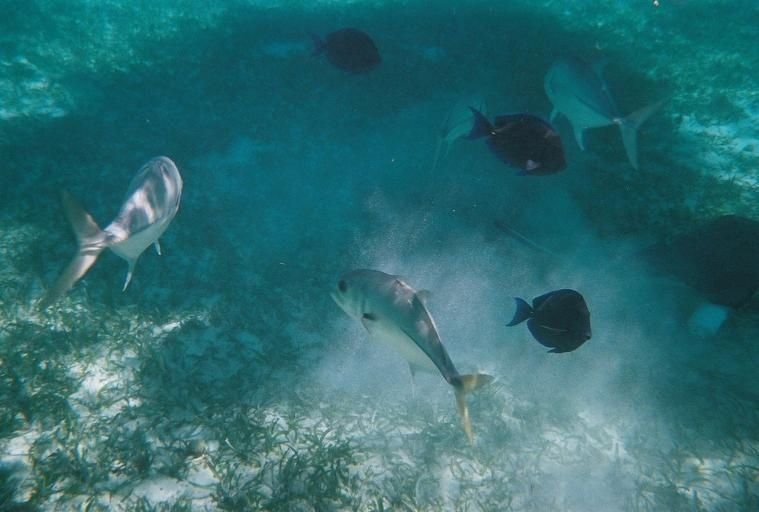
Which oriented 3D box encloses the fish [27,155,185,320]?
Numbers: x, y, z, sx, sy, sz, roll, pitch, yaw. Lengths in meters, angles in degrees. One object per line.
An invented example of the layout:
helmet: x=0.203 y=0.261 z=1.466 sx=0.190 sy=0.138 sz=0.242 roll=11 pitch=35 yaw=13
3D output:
fish: x=-3.166 y=-0.324 z=8.087 sx=1.176 sy=2.034 sz=0.404 roll=20 pitch=-5 yaw=-38

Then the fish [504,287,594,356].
fish: x=2.090 y=0.993 z=8.548 sx=0.830 sy=0.244 sz=0.755 roll=17 pitch=1 yaw=41

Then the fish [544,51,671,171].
fish: x=2.909 y=-2.121 z=9.303 sx=0.422 sy=1.009 sz=2.153 roll=7 pitch=26 yaw=-34
